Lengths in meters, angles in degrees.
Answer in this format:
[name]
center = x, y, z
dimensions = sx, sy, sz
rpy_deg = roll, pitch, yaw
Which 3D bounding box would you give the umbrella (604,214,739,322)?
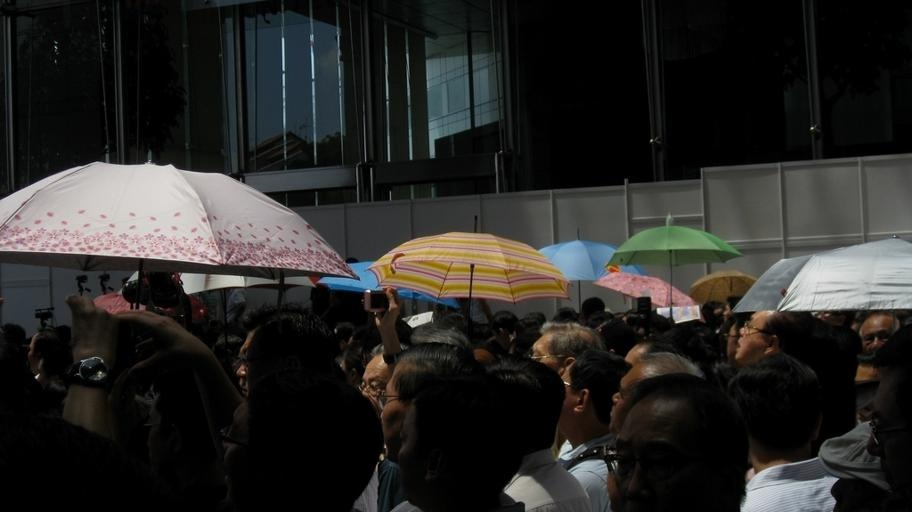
[umbrella]
center = 4.003, 0.253, 18.659
dimensions = 2.099, 1.514, 1.964
rpy_deg = 0, -9, -2

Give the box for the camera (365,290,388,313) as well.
[camera]
center = -1.174, 0.665, 14.641
dimensions = 0.431, 0.294, 0.116
rpy_deg = -1, 8, -6
